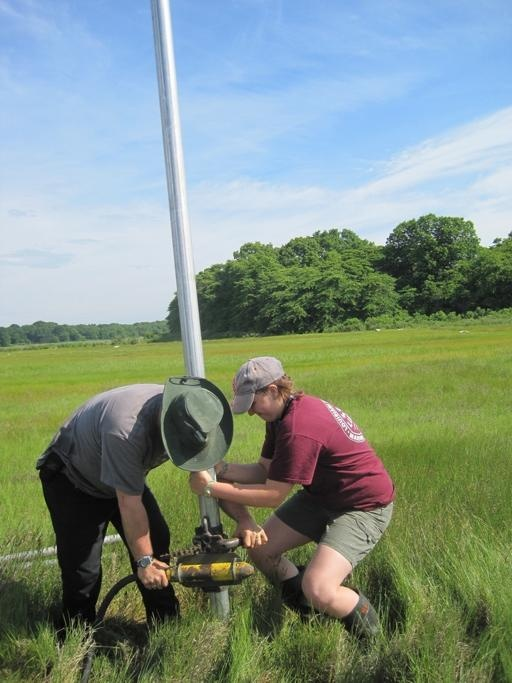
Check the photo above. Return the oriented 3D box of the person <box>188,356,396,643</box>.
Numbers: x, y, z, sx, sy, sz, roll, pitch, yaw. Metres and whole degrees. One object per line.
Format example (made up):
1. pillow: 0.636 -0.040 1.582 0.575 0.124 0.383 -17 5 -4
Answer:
1. person: 0.351 0.746 3.443 1.418 1.773 0.895 -2 -2 -5

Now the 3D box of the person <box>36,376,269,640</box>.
1. person: -0.494 0.870 2.753 1.163 1.442 0.689 9 29 14

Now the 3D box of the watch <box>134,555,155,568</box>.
1. watch: -0.473 0.921 2.419 0.082 0.047 0.076 -19 -1 -24

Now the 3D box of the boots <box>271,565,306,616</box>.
1. boots: 0.160 1.264 2.894 0.086 0.161 0.245 -16 8 -12

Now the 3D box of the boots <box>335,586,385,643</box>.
1. boots: 0.488 1.281 2.685 0.199 0.202 0.167 -51 5 -37

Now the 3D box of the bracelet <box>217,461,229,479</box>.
1. bracelet: -0.176 0.677 2.983 0.022 0.078 0.082 20 -29 -7

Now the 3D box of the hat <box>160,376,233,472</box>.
1. hat: -0.244 0.343 2.324 0.346 0.394 0.152 -5 -1 -42
